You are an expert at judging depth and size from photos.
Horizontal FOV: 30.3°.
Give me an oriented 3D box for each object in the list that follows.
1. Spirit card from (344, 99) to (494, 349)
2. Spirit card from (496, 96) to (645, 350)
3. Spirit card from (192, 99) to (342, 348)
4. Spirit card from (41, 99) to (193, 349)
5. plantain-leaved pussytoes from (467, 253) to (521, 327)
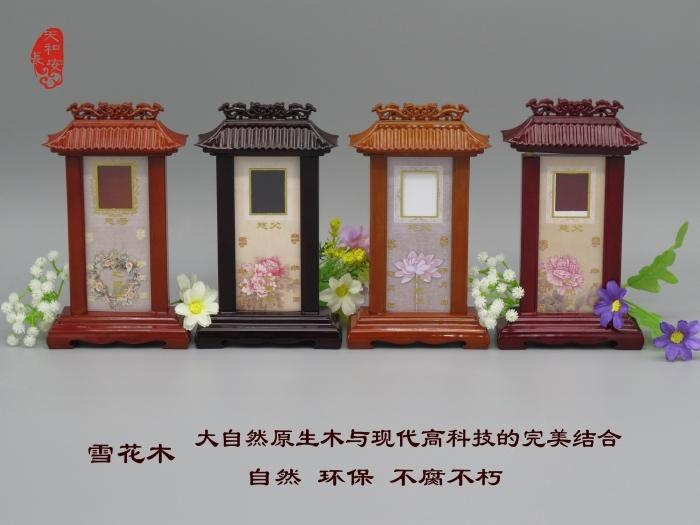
[{"bbox_3d":[0.484,-0.243,9.116,1.003,1.713,0.316,0,1,1],"label":"Spirit card"},{"bbox_3d":[1.560,-0.257,9.080,1.008,1.746,0.415,0,1,4],"label":"Spirit card"},{"bbox_3d":[-0.579,-0.250,9.083,0.997,1.719,0.330,0,1,-3],"label":"Spirit card"},{"bbox_3d":[-1.630,-0.279,9.161,1.282,1.715,0.526,0,4,21],"label":"Spirit card"},{"bbox_3d":[0.989,0.228,8.791,0.253,0.443,0.316,-15,25,-27],"label":"plantain-leaved pussytoes"}]
